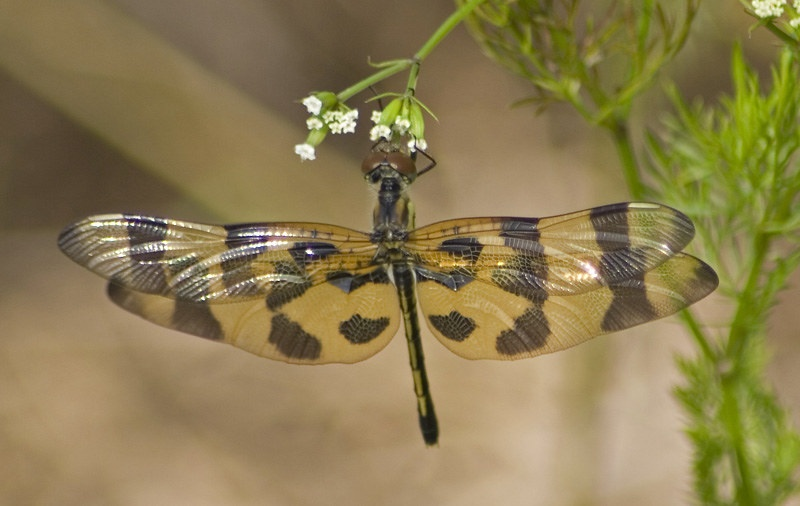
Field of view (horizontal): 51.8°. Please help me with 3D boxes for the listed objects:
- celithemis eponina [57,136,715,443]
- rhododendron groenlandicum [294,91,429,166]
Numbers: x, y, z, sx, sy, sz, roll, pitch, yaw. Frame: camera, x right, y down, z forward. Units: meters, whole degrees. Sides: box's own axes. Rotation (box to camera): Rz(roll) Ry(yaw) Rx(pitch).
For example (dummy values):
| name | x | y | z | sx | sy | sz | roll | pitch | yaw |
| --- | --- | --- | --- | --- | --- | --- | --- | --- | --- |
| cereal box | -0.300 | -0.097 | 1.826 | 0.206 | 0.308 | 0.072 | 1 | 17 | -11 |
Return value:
| name | x | y | z | sx | sy | sz | roll | pitch | yaw |
| --- | --- | --- | --- | --- | --- | --- | --- | --- | --- |
| celithemis eponina | 0.015 | 0.056 | 1.175 | 0.866 | 0.442 | 0.120 | -2 | 14 | -7 |
| rhododendron groenlandicum | -0.044 | -0.185 | 1.086 | 0.133 | 0.107 | 0.170 | -2 | 18 | 1 |
